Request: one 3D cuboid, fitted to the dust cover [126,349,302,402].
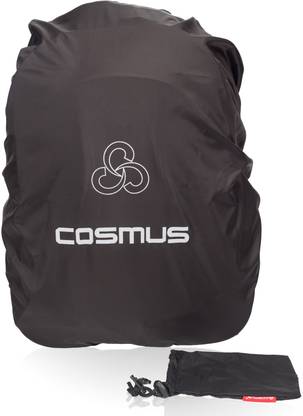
[{"bbox_3d":[0.192,0.518,1.557,0.519,0.100,0.274,-3,2,4],"label":"dust cover"}]
